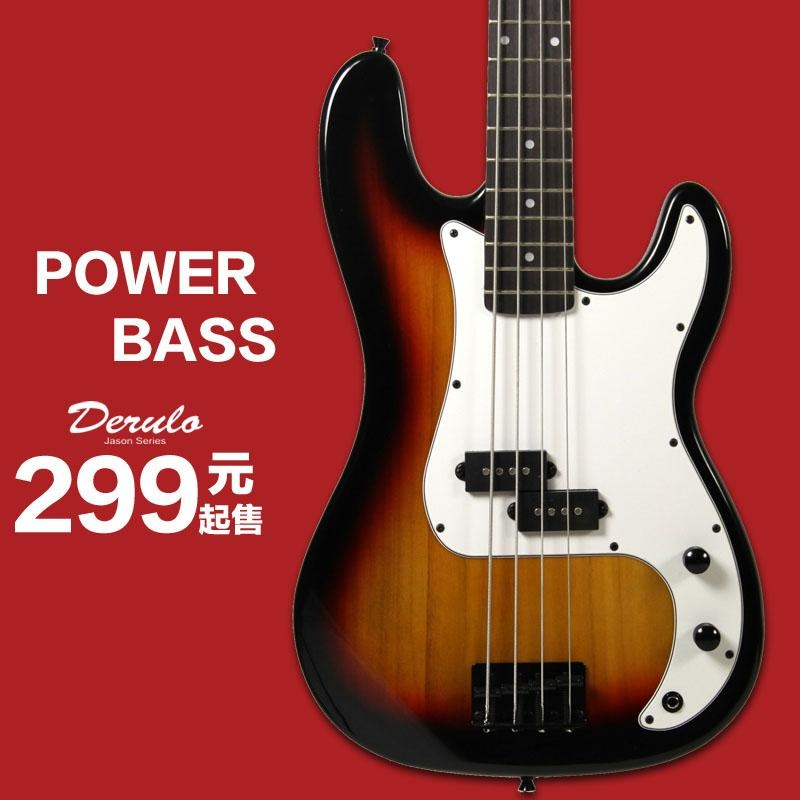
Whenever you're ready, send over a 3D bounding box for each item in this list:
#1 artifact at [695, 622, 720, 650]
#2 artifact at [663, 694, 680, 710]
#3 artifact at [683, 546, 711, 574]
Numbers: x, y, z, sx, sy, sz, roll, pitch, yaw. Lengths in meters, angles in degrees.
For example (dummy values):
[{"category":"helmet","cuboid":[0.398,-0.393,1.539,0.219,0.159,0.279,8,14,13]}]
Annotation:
[{"category":"artifact","cuboid":[0.438,0.336,1.532,0.038,0.039,0.025,-1,-12,11]},{"category":"artifact","cuboid":[0.389,0.429,1.535,0.029,0.028,0.007,5,-11,-15]},{"category":"artifact","cuboid":[0.421,0.225,1.529,0.034,0.035,0.016,-1,-11,11]}]
